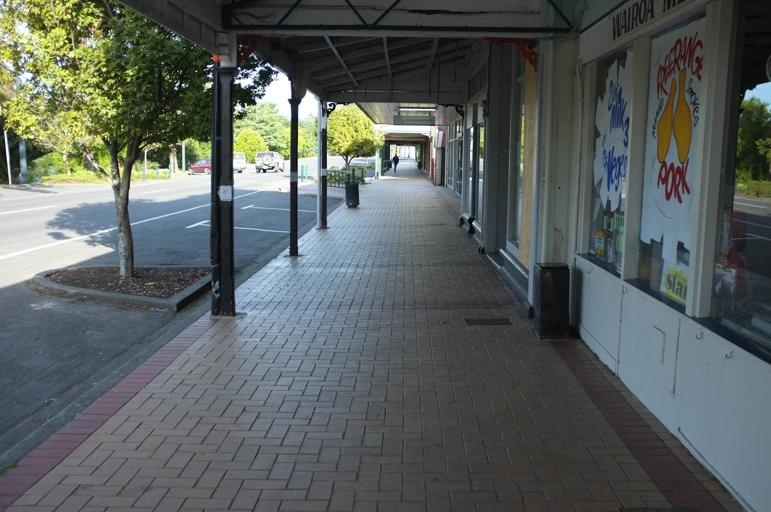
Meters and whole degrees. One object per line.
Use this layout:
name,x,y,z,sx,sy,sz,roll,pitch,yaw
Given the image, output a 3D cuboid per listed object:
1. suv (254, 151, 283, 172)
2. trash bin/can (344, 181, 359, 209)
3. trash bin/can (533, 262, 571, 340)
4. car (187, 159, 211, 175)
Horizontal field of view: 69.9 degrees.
suv,-12.582,-10.151,59.995,1.853,1.480,3.832,0,13,0
trash bin/can,-1.406,-2.595,23.571,0.504,1.013,0.689,-3,14,-7
trash bin/can,2.317,0.639,7.644,0.462,0.997,0.264,4,14,18
car,-19.081,-9.138,57.084,1.853,1.099,3.911,-4,15,-14
